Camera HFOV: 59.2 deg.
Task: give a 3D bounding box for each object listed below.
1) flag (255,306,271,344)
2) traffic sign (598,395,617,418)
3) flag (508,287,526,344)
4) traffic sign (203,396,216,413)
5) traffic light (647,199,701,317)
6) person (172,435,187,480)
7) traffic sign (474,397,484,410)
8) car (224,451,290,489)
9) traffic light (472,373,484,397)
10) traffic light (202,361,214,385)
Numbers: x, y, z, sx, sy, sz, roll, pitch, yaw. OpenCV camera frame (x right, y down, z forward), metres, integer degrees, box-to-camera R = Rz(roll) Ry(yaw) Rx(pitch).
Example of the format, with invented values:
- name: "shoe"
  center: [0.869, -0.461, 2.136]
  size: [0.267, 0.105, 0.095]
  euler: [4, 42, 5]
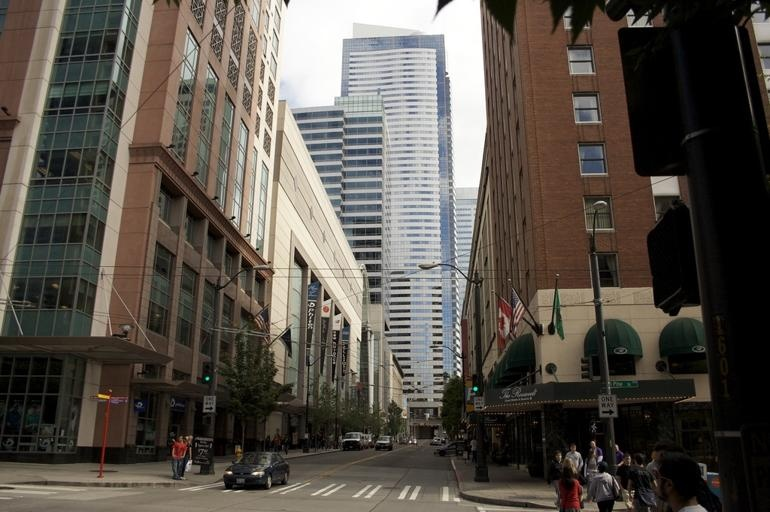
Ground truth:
- name: "flag"
  center: [-8.605, 4.928, 47.541]
  size: [0.224, 3.240, 3.149]
  euler: [-9, -10, -13]
- name: "traffic sign"
  center: [7.068, 4.761, 21.491]
  size: [0.502, 0.759, 0.571]
  euler: [-9, -18, 23]
- name: "flag"
  center: [5.670, 2.297, 29.029]
  size: [0.640, 2.155, 2.126]
  euler: [-5, -17, 10]
- name: "traffic sign"
  center: [-8.348, 7.006, 32.253]
  size: [0.501, 0.809, 0.936]
  euler: [4, -18, -18]
- name: "traffic light"
  center: [2.340, -0.007, 5.418]
  size: [0.269, 0.883, 0.674]
  euler: [-2, -17, 0]
- name: "person"
  center: [-8.426, 8.272, 27.841]
  size: [0.487, 1.705, 1.520]
  euler: [3, -18, -15]
- name: "traffic sign"
  center: [4.027, 6.313, 29.162]
  size: [0.345, 0.601, 0.737]
  euler: [-2, -17, 0]
- name: "car"
  center: [-5.134, 8.513, 27.025]
  size: [1.581, 1.429, 2.990]
  euler: [-6, -18, 12]
- name: "traffic light"
  center: [4.229, 5.848, 30.863]
  size: [0.464, 1.023, 0.820]
  euler: [-2, -17, 2]
- name: "traffic light"
  center: [-8.378, 5.493, 32.148]
  size: [0.477, 0.971, 0.619]
  euler: [1, -17, -11]
